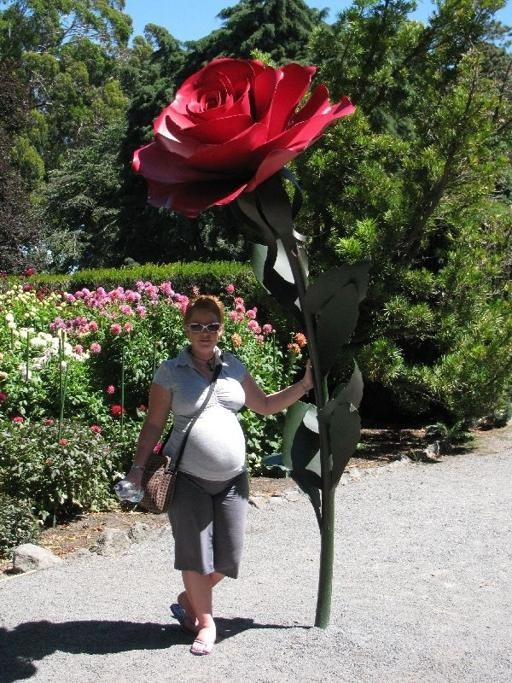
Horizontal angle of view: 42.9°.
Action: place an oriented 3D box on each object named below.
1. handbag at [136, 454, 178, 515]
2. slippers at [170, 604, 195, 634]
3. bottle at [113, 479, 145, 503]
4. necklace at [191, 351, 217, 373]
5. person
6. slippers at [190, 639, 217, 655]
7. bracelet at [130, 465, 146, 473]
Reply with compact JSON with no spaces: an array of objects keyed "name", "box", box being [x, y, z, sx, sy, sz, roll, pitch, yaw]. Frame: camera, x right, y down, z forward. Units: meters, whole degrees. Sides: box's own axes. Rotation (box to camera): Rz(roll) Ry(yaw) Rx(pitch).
[{"name":"handbag","box":[-0.324,0.460,2.139,0.087,0.184,0.206,20,-7,-24]},{"name":"slippers","box":[-0.264,0.986,2.339,0.045,0.049,0.147,-1,10,-17]},{"name":"bottle","box":[-0.406,0.485,2.098,0.087,0.084,0.133,0,-4,-9]},{"name":"necklace","box":[-0.190,0.067,2.289,0.074,0.087,0.052,-1,16,3]},{"name":"person","box":[-0.135,0.419,2.235,0.603,1.167,0.279,1,-4,-12]},{"name":"slippers","box":[-0.163,0.973,2.081,0.091,0.040,0.071,1,-4,-19]},{"name":"bracelet","box":[-0.385,0.419,2.145,0.031,0.014,0.034,3,-7,-32]}]
